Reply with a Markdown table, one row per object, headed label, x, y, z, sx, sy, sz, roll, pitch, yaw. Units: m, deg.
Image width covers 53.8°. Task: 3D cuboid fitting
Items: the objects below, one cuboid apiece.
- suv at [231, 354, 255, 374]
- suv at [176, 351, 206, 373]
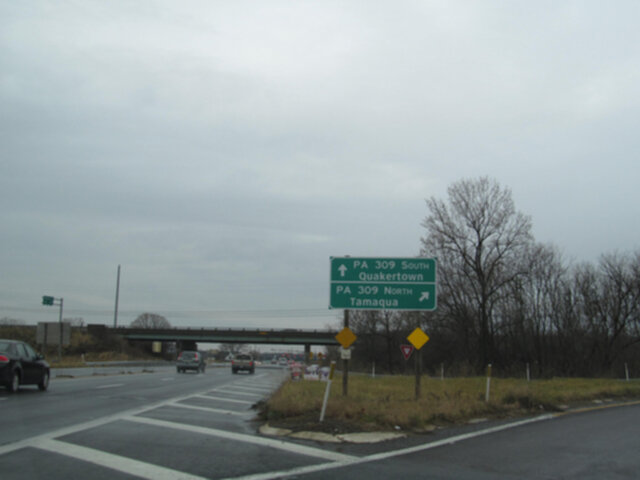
| label | x | y | z | sx | sy | sz | roll | pitch | yaw |
| --- | --- | --- | --- | --- | --- | --- | --- | --- | --- |
| suv | -6.213 | 10.056 | 51.295 | 1.076 | 1.064 | 2.144 | 0 | -3 | 6 |
| suv | -9.966 | 9.489 | 49.180 | 1.171 | 1.117 | 2.616 | 1 | -8 | -2 |
